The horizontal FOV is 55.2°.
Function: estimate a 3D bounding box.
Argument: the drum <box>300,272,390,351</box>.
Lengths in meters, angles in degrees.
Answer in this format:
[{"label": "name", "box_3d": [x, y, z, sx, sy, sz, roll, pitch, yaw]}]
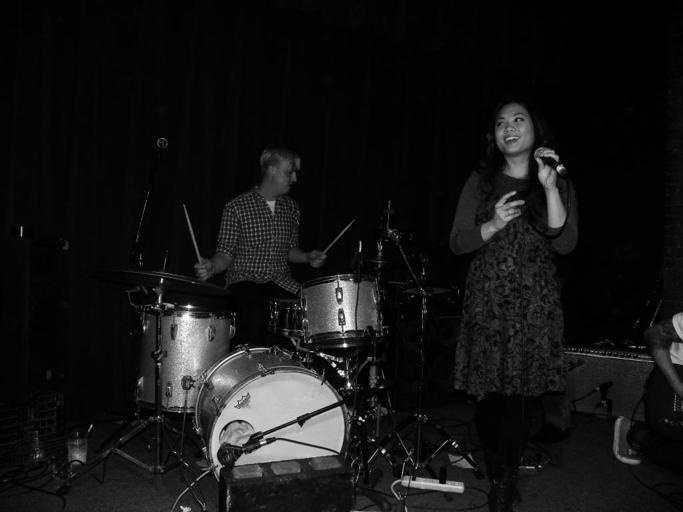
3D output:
[{"label": "drum", "box_3d": [-0.014, 0.375, 4.280, 0.493, 0.353, 0.505, -3, -14, -1]}]

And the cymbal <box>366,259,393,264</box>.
[{"label": "cymbal", "box_3d": [0.286, 0.045, 5.015, 0.175, 0.043, 0.351, 1, 0, 2]}]

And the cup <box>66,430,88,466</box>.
[{"label": "cup", "box_3d": [-1.812, 1.359, 4.518, 0.141, 0.147, 0.141, 14, -1, 0]}]

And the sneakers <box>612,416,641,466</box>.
[{"label": "sneakers", "box_3d": [2.029, 1.331, 4.605, 0.124, 0.278, 0.387, 10, 4, 7]}]

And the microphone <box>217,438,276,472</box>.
[{"label": "microphone", "box_3d": [-0.546, 1.119, 3.767, 0.279, 0.178, 0.119, -18, 39, 3]}]

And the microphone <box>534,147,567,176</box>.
[{"label": "microphone", "box_3d": [1.087, -0.513, 3.414, 0.101, 0.095, 0.203, -29, 39, -1]}]

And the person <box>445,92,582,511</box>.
[{"label": "person", "box_3d": [0.909, 0.275, 3.523, 0.665, 2.282, 0.397, 1, 1, 19]}]

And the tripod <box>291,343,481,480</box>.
[{"label": "tripod", "box_3d": [0.341, 1.053, 4.749, 1.048, 0.996, 1.060, -8, 25, 12]}]

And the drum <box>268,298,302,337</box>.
[{"label": "drum", "box_3d": [-0.387, 0.415, 4.482, 0.234, 0.169, 0.238, 3, 3, 0]}]

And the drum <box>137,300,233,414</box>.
[{"label": "drum", "box_3d": [-1.075, 0.752, 4.786, 0.706, 0.690, 0.715, 4, -11, -6]}]

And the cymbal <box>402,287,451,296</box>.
[{"label": "cymbal", "box_3d": [0.649, 0.257, 4.712, 0.189, 0.054, 0.191, 1, -9, 3]}]

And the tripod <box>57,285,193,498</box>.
[{"label": "tripod", "box_3d": [-1.173, 0.826, 4.467, 0.937, 1.383, 0.954, 1, 1, 24]}]

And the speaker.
[{"label": "speaker", "box_3d": [2.552, 1.208, 6.165, 0.803, 0.702, 0.794, -7, 2, 29]}]

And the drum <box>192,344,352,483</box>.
[{"label": "drum", "box_3d": [-0.427, 0.887, 4.237, 0.478, 0.781, 0.821, -33, -54, 26]}]

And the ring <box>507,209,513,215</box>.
[{"label": "ring", "box_3d": [0.864, -0.227, 3.348, 0.023, 0.023, 0.005, -12, 10, -3]}]
